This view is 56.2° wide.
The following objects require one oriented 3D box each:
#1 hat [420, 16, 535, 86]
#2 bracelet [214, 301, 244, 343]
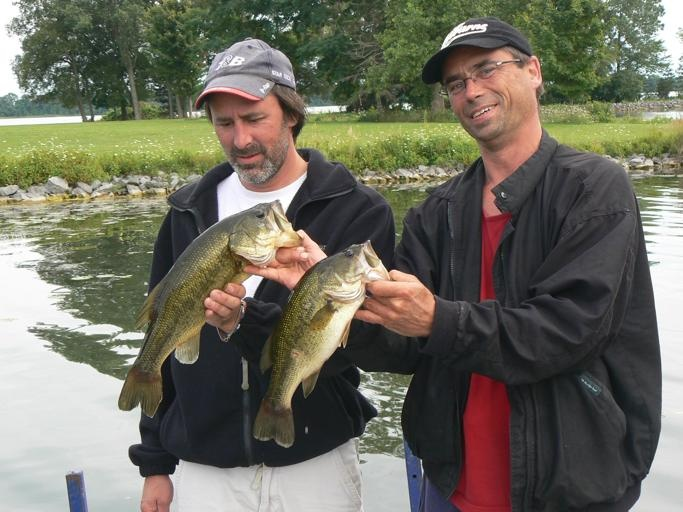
[{"bbox_3d":[0.797,-1.248,3.857,0.561,0.304,0.413,17,-23,-34],"label":"hat"},{"bbox_3d":[-0.645,0.385,3.694,0.170,0.238,0.070,-4,23,-42],"label":"bracelet"}]
